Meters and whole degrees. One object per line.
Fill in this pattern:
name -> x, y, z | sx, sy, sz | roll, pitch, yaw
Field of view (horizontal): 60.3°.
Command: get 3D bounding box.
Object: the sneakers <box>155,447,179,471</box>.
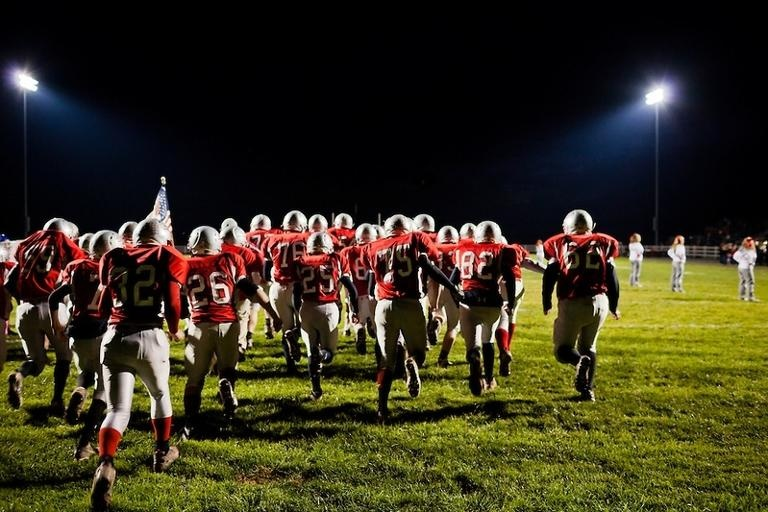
sneakers -> -2.776, 2.551, 8.391 | 0.145, 0.181, 0.397 | 8, 8, 1

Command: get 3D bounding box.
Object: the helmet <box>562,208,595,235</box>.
helmet -> 3.063, -0.554, 10.402 | 0.372, 0.410, 0.472 | 1, 15, -6

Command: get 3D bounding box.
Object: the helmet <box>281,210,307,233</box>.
helmet -> -1.734, -0.673, 12.840 | 0.337, 0.402, 0.474 | 0, 1, -3

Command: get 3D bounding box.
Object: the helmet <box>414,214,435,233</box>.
helmet -> 0.774, -0.617, 12.387 | 0.383, 0.345, 0.283 | 18, 2, 9

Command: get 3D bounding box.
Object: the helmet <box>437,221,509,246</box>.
helmet -> 1.553, -0.383, 10.656 | 0.596, 0.317, 0.384 | 8, 5, 19

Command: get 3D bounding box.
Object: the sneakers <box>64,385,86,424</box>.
sneakers -> -4.310, 2.069, 9.272 | 0.174, 0.539, 0.227 | 23, 20, -3

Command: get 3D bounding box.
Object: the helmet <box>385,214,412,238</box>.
helmet -> 0.204, -0.411, 10.316 | 0.311, 0.359, 0.404 | 1, -35, 2

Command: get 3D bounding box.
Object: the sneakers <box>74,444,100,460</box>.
sneakers -> -3.871, 2.527, 8.562 | 0.267, 0.161, 0.158 | -8, 17, -29

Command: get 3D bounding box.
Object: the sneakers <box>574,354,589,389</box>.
sneakers -> 2.914, 1.695, 9.817 | 0.182, 0.502, 0.234 | 6, -7, 17

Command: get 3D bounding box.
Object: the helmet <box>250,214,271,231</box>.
helmet -> -2.570, -0.700, 13.745 | 0.343, 0.388, 0.429 | 3, 9, -7

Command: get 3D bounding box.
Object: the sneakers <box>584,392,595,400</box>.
sneakers -> 3.138, 2.126, 10.145 | 0.158, 0.160, 0.113 | 0, 2, 11

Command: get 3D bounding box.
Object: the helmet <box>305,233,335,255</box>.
helmet -> -1.039, -0.180, 10.643 | 0.314, 0.340, 0.405 | 0, 33, 10

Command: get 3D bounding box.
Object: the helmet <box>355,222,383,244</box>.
helmet -> -0.331, -0.418, 12.933 | 0.399, 0.414, 0.531 | 1, 17, 1

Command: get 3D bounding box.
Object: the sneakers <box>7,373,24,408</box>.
sneakers -> -5.280, 1.906, 9.470 | 0.203, 0.556, 0.236 | 0, -2, -4

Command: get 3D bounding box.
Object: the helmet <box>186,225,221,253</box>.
helmet -> -2.569, -0.230, 9.431 | 0.341, 0.403, 0.449 | 1, 16, -20
